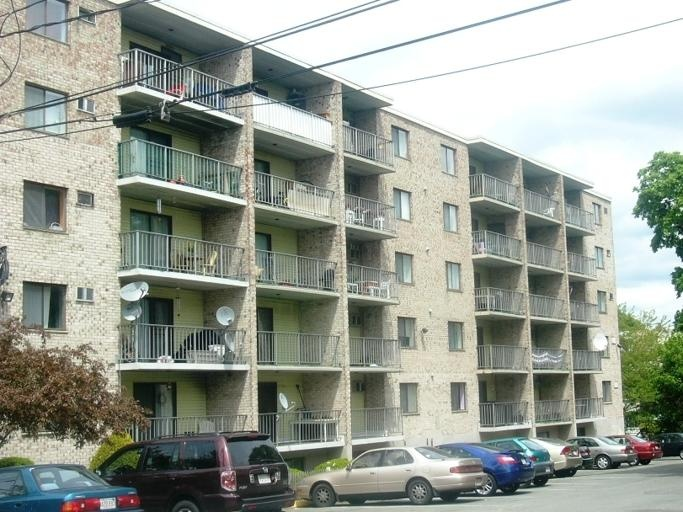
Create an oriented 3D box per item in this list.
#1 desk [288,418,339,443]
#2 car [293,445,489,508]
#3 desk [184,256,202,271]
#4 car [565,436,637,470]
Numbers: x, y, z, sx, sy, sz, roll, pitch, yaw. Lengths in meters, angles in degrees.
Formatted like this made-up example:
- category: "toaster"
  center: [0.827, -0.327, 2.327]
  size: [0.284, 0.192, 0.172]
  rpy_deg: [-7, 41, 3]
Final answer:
- category: "desk"
  center: [-1.008, 7.306, 42.039]
  size: [2.072, 0.855, 1.041]
  rpy_deg: [8, -14, -40]
- category: "car"
  center: [1.686, 7.383, 34.157]
  size: [5.633, 1.464, 2.369]
  rpy_deg: [-5, -13, 24]
- category: "desk"
  center: [-5.692, 0.242, 38.762]
  size: [0.618, 0.689, 1.142]
  rpy_deg: [0, -13, -8]
- category: "car"
  center: [12.612, 9.558, 48.308]
  size: [4.296, 1.201, 1.664]
  rpy_deg: [0, -7, 23]
